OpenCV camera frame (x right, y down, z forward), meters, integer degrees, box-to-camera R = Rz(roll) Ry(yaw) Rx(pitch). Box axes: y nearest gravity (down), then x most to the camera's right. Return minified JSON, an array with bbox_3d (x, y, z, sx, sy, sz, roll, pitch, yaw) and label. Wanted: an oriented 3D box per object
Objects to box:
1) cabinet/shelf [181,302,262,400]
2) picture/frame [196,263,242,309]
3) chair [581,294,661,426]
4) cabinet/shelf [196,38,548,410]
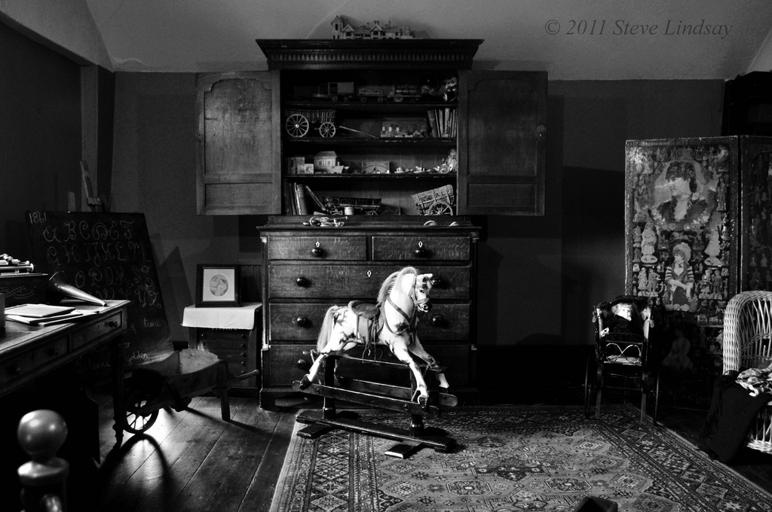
[{"bbox_3d":[-1.545,0.953,6.765,0.970,0.985,0.791,0,-2,2],"label":"cabinet/shelf"},{"bbox_3d":[-1.691,0.307,6.582,0.431,0.426,0.047,1,-9,-4],"label":"picture/frame"},{"bbox_3d":[2.281,0.920,6.261,0.929,1.355,1.098,1,-1,26],"label":"chair"},{"bbox_3d":[-0.228,-0.415,6.284,3.657,3.495,1.094,0,2,-1],"label":"cabinet/shelf"}]
